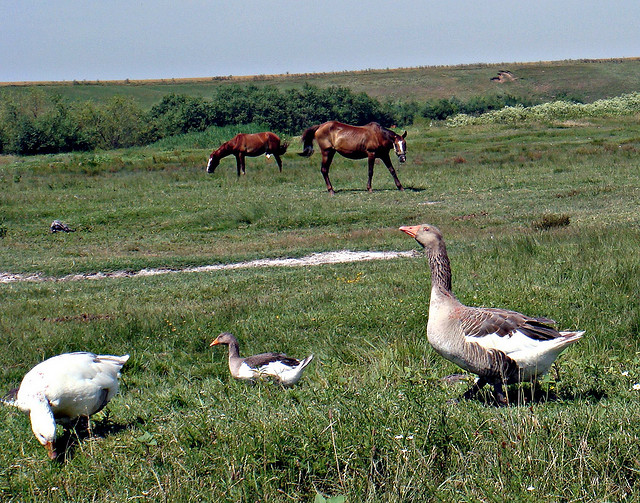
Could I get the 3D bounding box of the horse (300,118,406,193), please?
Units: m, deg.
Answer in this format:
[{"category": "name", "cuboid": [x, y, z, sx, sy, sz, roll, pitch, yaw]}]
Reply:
[{"category": "horse", "cuboid": [1.631, -4.624, 49.005, 5.916, 3.062, 2.523, 2, 14, 31]}]
